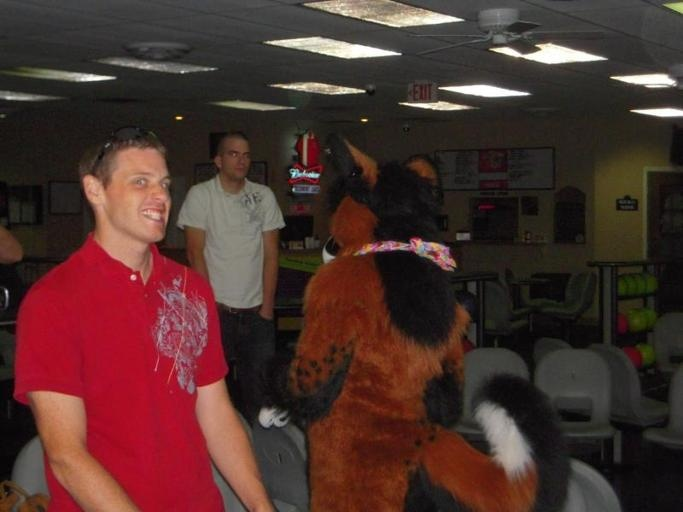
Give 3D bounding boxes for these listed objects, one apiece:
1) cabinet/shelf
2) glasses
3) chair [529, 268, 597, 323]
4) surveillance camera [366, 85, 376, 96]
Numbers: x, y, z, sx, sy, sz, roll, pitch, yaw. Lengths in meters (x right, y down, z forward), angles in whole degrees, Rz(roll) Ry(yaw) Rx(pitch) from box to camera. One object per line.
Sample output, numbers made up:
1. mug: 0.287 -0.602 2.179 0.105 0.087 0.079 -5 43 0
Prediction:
1. cabinet/shelf: 3.263 0.741 6.766 0.483 1.305 1.470 0 1 42
2. glasses: -0.593 -0.289 1.642 0.120 0.151 0.045 12 5 -15
3. chair: 3.093 0.596 8.281 0.719 0.690 0.952 4 -3 -1
4. surveillance camera: 0.393 -2.191 7.815 0.130 0.081 0.154 1 -37 -5
